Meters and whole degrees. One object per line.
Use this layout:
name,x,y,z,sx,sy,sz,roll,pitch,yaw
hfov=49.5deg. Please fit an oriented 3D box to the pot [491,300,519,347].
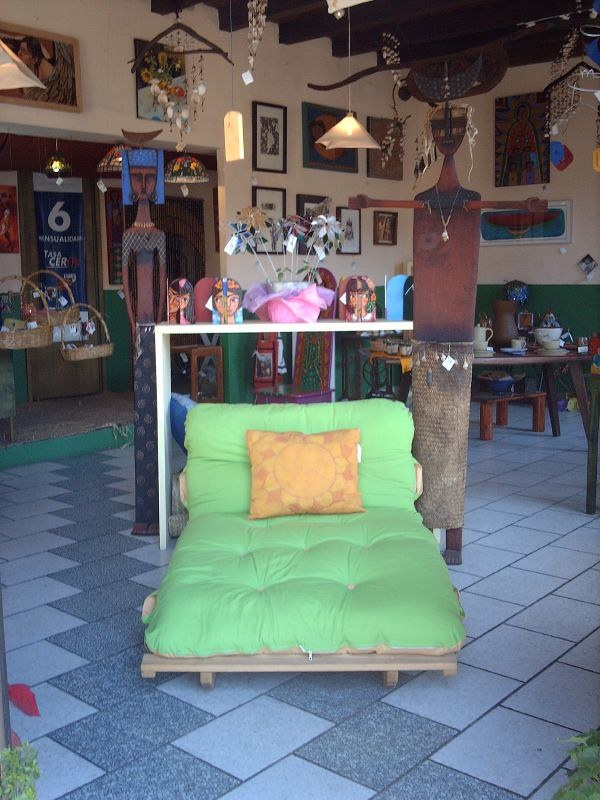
pot,1.938,-0.705,6.072,0.213,0.432,0.296,0,6,5

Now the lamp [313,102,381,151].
lamp,0.295,-1.648,3.970,0.307,0.255,0.274,1,6,14

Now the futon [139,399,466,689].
futon,0.003,0.488,2.623,1.053,0.659,1.497,-1,12,1

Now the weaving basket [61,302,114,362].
weaving basket,-1.514,-0.462,4.786,0.326,0.334,0.131,-11,-9,26

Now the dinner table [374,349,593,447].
dinner table,1.836,-0.125,6.142,1.453,0.734,0.900,11,5,11

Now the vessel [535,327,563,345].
vessel,2.242,-0.535,5.813,0.182,0.123,0.184,1,2,-20

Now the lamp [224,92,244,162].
lamp,-0.272,-1.104,2.715,0.073,0.251,0.277,-1,6,-6

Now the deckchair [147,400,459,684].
deckchair,-0.010,0.485,2.476,1.079,0.810,1.093,-1,6,0

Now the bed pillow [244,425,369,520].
bed pillow,0.027,0.312,2.615,0.433,0.352,0.131,-4,-13,-3
